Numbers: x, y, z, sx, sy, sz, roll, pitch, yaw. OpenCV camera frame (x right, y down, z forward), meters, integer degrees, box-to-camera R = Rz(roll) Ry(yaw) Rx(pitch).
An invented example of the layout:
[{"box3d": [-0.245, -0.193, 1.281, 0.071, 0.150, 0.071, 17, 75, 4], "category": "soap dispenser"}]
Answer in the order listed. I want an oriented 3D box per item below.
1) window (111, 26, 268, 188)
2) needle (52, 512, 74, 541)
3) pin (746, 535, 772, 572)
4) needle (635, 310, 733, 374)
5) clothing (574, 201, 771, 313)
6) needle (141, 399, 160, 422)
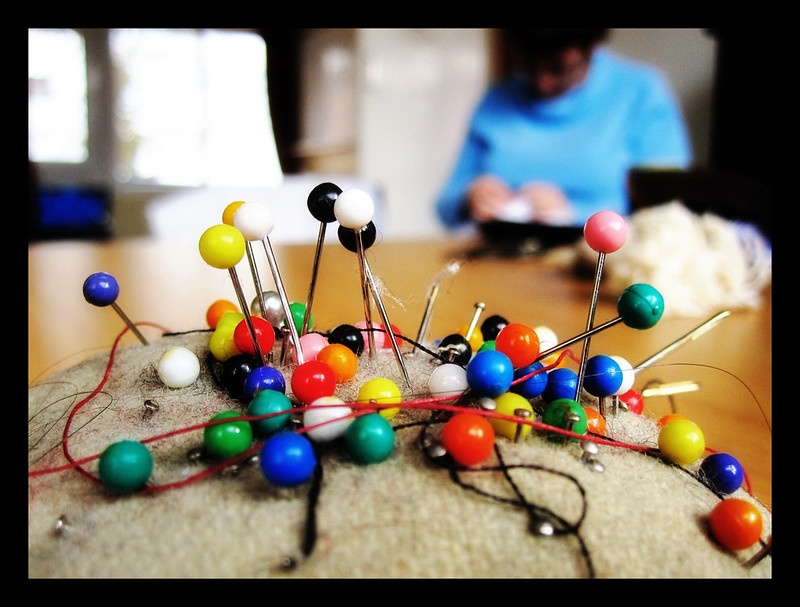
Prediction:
[{"box3d": [-0.556, -0.513, 2.184, 0.363, 0.382, 0.040, -4, 6, -40], "category": "window"}, {"box3d": [-0.536, 0.351, 1.346, 0.033, 0.034, 0.012, 20, -6, 40], "category": "needle"}, {"box3d": [0.579, 0.404, 1.364, 0.084, 0.014, 0.011, -42, 20, -13], "category": "pin"}, {"box3d": [0.664, 0.096, 1.964, 0.240, 0.023, 0.033, -31, 16, 2], "category": "needle"}, {"box3d": [0.783, -0.144, 2.367, 0.325, 0.188, 0.378, 9, 11, -28], "category": "clothing"}, {"box3d": [-0.418, 0.178, 1.417, 0.023, 0.034, 0.032, 6, 7, 1], "category": "needle"}]
